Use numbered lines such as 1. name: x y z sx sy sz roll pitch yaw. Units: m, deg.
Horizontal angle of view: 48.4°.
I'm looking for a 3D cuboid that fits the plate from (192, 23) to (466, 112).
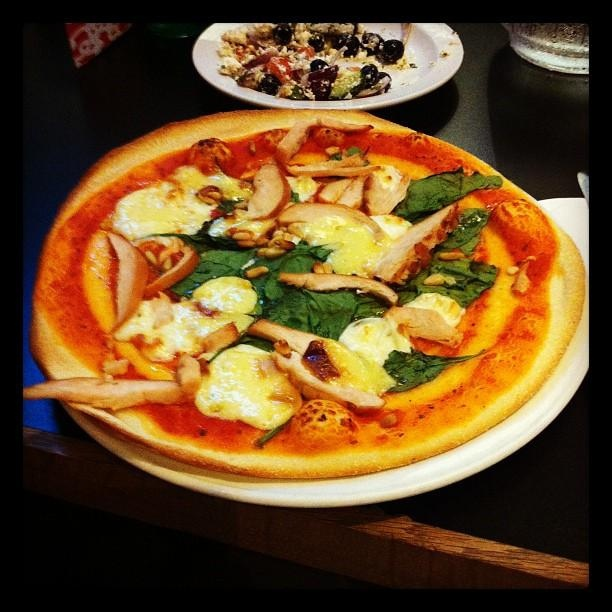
1. plate: 0.045 -0.710 1.939 0.721 0.167 0.439 -6 45 -7
